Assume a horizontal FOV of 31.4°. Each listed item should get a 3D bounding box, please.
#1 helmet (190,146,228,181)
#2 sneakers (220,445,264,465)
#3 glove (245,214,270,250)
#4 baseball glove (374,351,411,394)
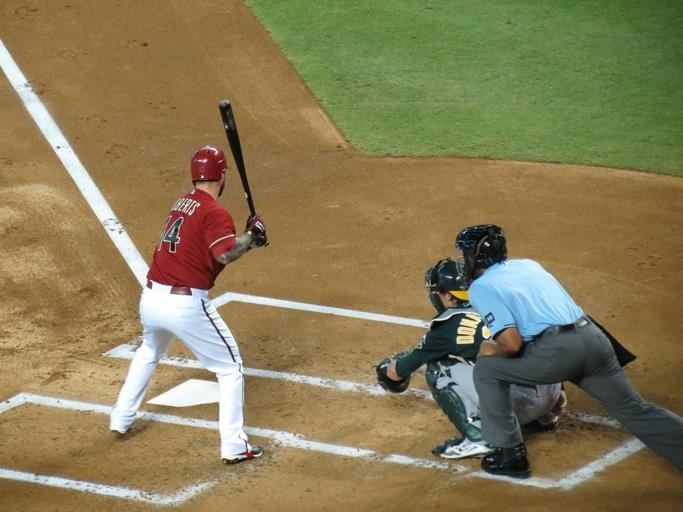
[{"bbox_3d":[-1.332,-0.960,12.594,0.388,0.293,0.396,0,27,11],"label":"helmet"},{"bbox_3d":[-0.962,2.036,12.583,0.484,0.150,0.160,-12,24,-28],"label":"sneakers"},{"bbox_3d":[-0.847,-0.245,12.617,0.165,0.301,0.343,-12,18,19],"label":"glove"},{"bbox_3d":[0.530,1.261,12.853,0.249,0.443,0.378,45,49,18],"label":"baseball glove"}]
